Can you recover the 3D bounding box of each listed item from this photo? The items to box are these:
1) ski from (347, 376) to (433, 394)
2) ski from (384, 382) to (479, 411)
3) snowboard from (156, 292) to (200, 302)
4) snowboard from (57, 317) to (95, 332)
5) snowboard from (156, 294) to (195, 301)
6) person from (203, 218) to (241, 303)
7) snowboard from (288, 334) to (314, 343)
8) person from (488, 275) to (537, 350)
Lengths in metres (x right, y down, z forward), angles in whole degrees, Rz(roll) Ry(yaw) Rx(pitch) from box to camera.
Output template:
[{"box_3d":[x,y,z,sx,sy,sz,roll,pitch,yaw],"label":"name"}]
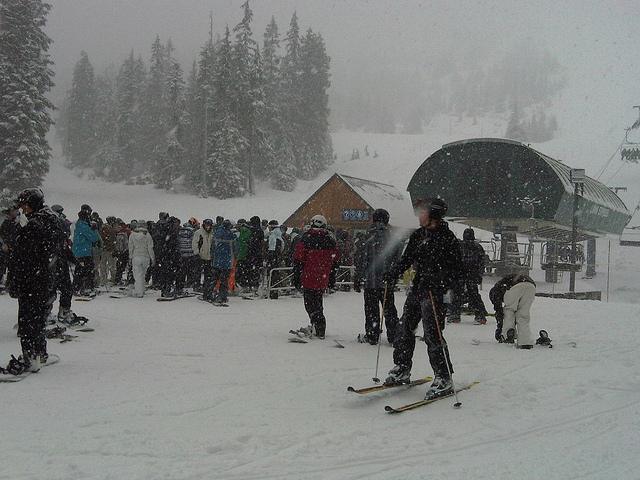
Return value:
[{"box_3d":[1.058,2.170,9.666,1.289,0.093,0.144,-5,14,-26],"label":"ski"},{"box_3d":[1.592,2.269,9.353,1.822,0.141,0.190,-7,9,-35],"label":"ski"},{"box_3d":[-3.590,1.450,16.417,0.270,0.106,1.943,5,0,18],"label":"snowboard"},{"box_3d":[-4.492,1.609,12.233,0.804,0.288,0.253,5,0,-10],"label":"snowboard"},{"box_3d":[-3.604,1.455,16.370,0.196,0.059,1.332,7,-1,28],"label":"snowboard"},{"box_3d":[-2.443,0.607,15.938,0.823,2.090,1.023,2,15,4],"label":"person"},{"box_3d":[-0.370,1.877,12.333,0.376,0.109,0.462,7,15,20],"label":"snowboard"},{"box_3d":[3.695,1.379,12.344,0.709,1.301,0.992,-12,19,-40],"label":"person"}]
